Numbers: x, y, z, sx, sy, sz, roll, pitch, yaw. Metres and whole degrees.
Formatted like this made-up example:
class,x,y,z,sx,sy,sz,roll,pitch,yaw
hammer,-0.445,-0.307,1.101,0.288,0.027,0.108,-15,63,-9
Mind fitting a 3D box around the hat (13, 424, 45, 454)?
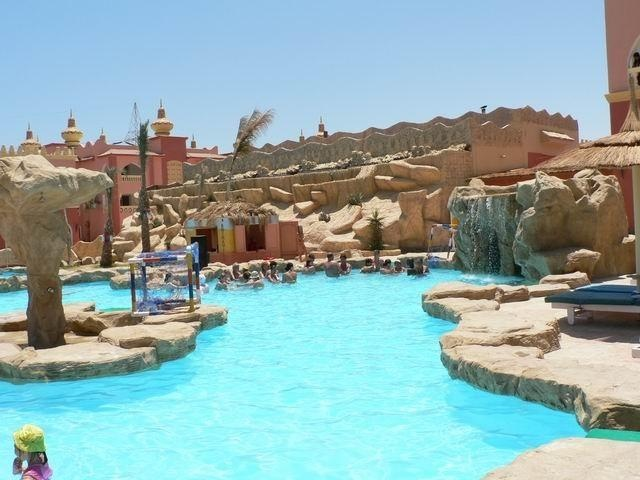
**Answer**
class,x,y,z,sx,sy,sz,roll,pitch,yaw
hat,-2.282,1.552,4.195,0.197,0.250,0.175,-6,6,-24
